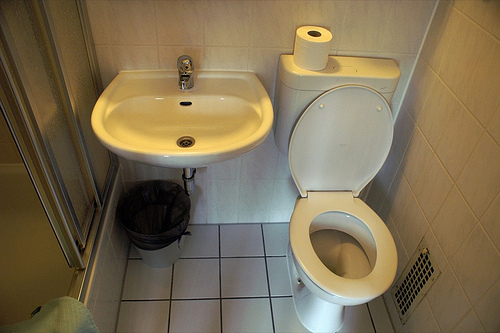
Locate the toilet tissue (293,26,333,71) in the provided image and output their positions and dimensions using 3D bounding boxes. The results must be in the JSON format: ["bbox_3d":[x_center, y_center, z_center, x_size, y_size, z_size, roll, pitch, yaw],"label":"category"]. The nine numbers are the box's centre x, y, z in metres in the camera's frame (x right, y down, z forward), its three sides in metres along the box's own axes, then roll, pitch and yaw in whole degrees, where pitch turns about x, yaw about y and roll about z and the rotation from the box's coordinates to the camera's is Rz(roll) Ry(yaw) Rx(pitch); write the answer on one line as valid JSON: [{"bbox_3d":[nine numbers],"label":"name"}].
[{"bbox_3d":[0.302,-0.575,1.712,0.176,0.168,0.173,5,35,2],"label":"toilet tissue"}]

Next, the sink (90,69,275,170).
[{"bbox_3d":[-0.296,-0.238,1.650,0.791,0.246,0.578,2,35,-2],"label":"sink"}]

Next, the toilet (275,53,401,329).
[{"bbox_3d":[0.433,0.094,1.768,0.577,1.055,0.825,0,35,-4],"label":"toilet"}]
